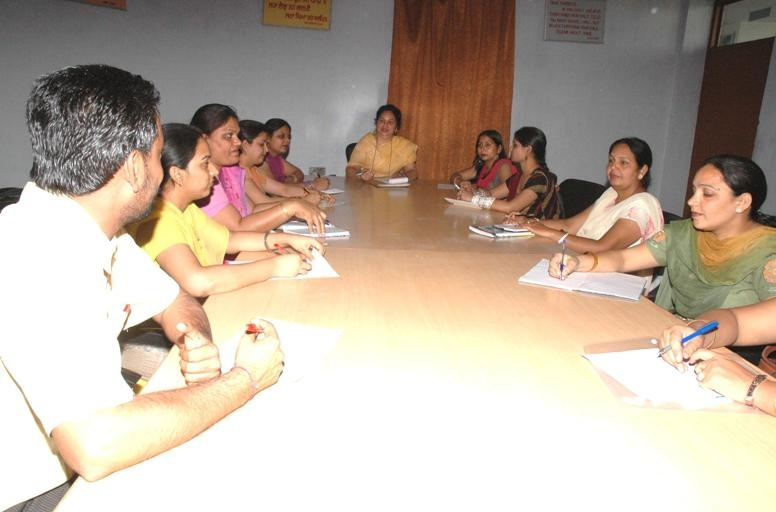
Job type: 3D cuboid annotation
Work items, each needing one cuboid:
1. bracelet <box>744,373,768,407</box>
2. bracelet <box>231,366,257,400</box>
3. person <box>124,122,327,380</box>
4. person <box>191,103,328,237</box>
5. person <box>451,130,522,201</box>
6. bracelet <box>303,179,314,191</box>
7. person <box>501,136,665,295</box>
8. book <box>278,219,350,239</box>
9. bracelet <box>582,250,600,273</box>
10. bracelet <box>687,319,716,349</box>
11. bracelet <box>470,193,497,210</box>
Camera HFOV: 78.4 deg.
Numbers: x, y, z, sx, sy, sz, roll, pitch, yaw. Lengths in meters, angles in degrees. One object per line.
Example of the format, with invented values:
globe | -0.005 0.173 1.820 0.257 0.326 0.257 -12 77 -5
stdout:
bracelet | 0.950 0.342 1.239 0.019 0.068 0.073 17 12 40
bracelet | -0.346 0.307 1.169 0.052 0.070 0.069 2 53 -26
person | -0.700 -0.138 1.933 0.849 0.670 0.666 -4 24 -14
person | -0.594 -0.419 2.790 0.673 0.712 0.531 26 26 0
person | 0.940 -0.882 4.536 0.544 0.582 0.732 21 30 39
bracelet | -0.642 -0.582 3.972 0.073 0.091 0.233 -3 22 -7
person | 1.114 -0.327 3.151 0.971 1.224 0.900 0 14 -1
book | -0.381 -0.128 2.511 0.230 0.065 0.165 7 18 -1
bracelet | 0.883 0.033 2.068 0.023 0.066 0.058 9 3 -6
bracelet | 0.960 0.241 1.457 0.128 0.048 0.035 -18 61 -39
bracelet | 0.695 -0.395 3.420 0.120 0.046 0.117 -15 23 -37
